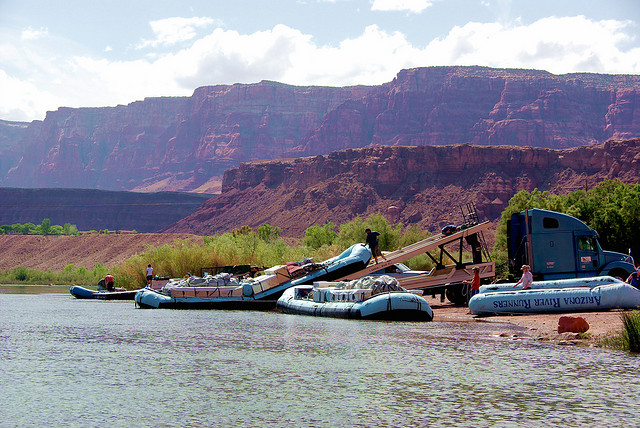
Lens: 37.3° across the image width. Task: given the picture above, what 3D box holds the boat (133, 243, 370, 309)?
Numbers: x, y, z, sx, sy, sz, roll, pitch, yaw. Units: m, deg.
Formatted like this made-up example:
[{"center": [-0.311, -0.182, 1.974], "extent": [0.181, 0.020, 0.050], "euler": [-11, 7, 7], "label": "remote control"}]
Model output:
[{"center": [-4.628, 5.003, 66.023], "extent": [15.744, 3.517, 4.337], "euler": [-5, 0, -10], "label": "boat"}]

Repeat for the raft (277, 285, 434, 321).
[{"center": [1.930, 5.734, 58.092], "extent": [7.255, 1.188, 3.315], "euler": [-3, -8, 42], "label": "raft"}]

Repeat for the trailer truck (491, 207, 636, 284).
[{"center": [15.241, 1.842, 60.561], "extent": [9.204, 4.878, 4.061], "euler": [-2, 1, 4], "label": "trailer truck"}]

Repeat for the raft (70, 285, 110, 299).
[{"center": [-20.281, 6.692, 82.003], "extent": [3.200, 1.085, 0.744], "euler": [-6, -14, 36], "label": "raft"}]
